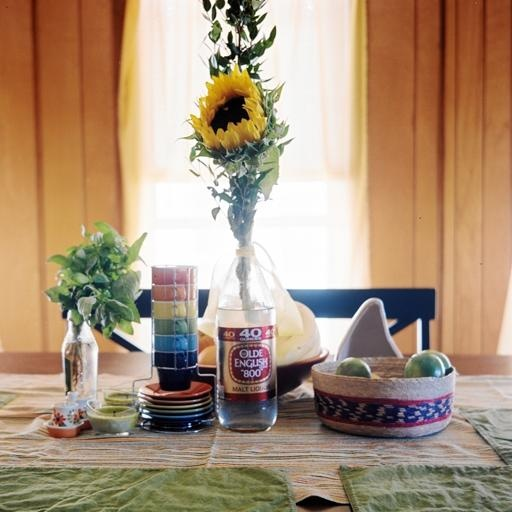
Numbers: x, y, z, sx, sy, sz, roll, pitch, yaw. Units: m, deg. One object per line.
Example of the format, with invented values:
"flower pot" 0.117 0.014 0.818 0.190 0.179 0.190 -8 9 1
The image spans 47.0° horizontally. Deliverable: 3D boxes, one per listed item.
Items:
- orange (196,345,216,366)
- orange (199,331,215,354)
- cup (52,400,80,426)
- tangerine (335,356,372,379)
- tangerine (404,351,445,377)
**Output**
"orange" -0.078 0.167 0.981 0.028 0.027 0.032 6 42 -4
"orange" -0.081 0.145 0.999 0.029 0.027 0.028 3 -21 -8
"cup" -0.274 0.229 0.862 0.037 0.024 0.035 2 -2 0
"tangerine" 0.144 0.156 0.855 0.031 0.032 0.037 -7 2 -3
"tangerine" 0.240 0.156 0.834 0.041 0.047 0.041 -6 2 27
